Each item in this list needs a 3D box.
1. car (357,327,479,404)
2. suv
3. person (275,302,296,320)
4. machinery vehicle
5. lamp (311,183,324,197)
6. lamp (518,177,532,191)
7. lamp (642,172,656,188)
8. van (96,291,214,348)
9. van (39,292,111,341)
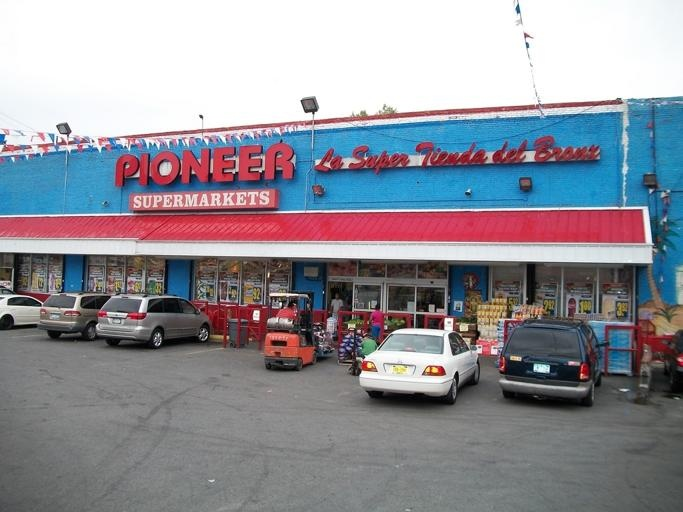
[{"bbox_3d":[1.982,2.673,13.802,1.877,1.674,2.893,-1,-5,30],"label":"car"},{"bbox_3d":[5.289,2.631,13.733,1.945,1.525,3.618,-1,0,22],"label":"suv"},{"bbox_3d":[-1.755,1.759,17.668,0.614,0.347,0.986,0,0,8],"label":"person"},{"bbox_3d":[-1.528,2.427,18.490,1.104,2.230,3.498,-1,1,15],"label":"machinery vehicle"},{"bbox_3d":[-1.038,-2.930,24.844,0.557,0.551,0.412,1,5,2],"label":"lamp"},{"bbox_3d":[7.195,-2.788,21.771,0.500,0.502,0.496,-1,-4,10],"label":"lamp"},{"bbox_3d":[11.320,-2.793,20.480,0.546,0.541,0.299,1,3,15],"label":"lamp"},{"bbox_3d":[-7.007,2.314,21.165,1.815,1.420,3.535,0,1,26],"label":"van"},{"bbox_3d":[-10.356,2.321,22.143,1.550,1.307,2.849,0,1,19],"label":"van"}]
